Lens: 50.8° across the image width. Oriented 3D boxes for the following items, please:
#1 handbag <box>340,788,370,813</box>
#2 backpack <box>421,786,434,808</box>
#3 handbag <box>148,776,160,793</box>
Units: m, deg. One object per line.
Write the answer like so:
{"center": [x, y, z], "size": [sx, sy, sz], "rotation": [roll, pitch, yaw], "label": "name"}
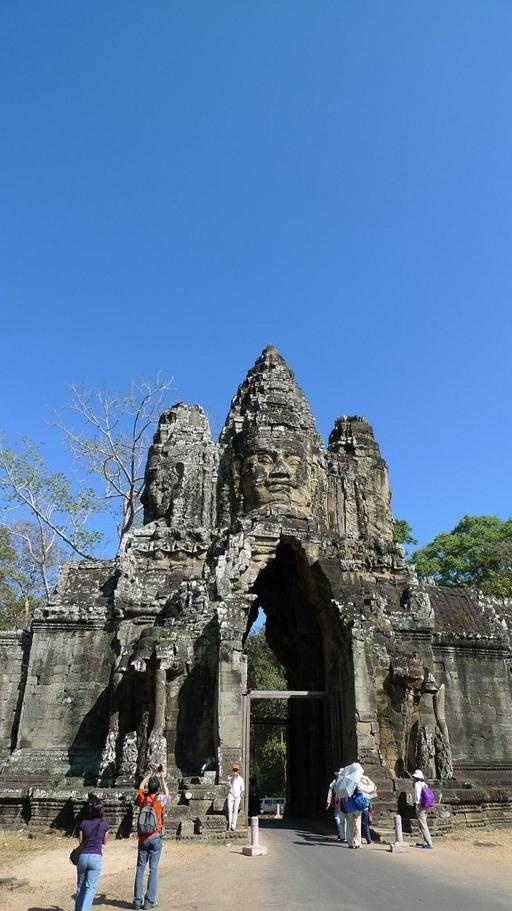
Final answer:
{"center": [1.402, 4.947, 7.704], "size": [0.251, 0.315, 0.441], "rotation": [10, -27, -21], "label": "handbag"}
{"center": [2.534, 5.153, 8.087], "size": [0.190, 0.302, 0.376], "rotation": [-6, -26, 12], "label": "backpack"}
{"center": [-0.788, 2.512, 4.115], "size": [0.071, 0.100, 0.095], "rotation": [3, -9, 0], "label": "handbag"}
